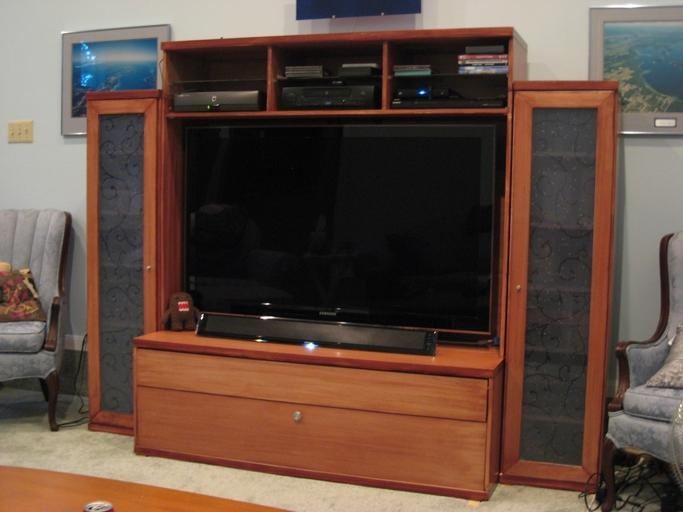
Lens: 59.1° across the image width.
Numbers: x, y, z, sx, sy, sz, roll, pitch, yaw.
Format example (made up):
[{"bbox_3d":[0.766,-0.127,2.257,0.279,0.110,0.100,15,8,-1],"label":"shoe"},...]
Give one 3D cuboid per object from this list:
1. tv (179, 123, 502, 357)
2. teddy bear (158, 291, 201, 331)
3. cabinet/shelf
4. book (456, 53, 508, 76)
[{"bbox_3d":[0.072,-0.090,3.447,1.385,0.893,0.183,1,0,15],"label":"tv"},{"bbox_3d":[-0.954,0.332,3.614,0.253,0.234,0.128,-1,-5,-20],"label":"teddy bear"},{"bbox_3d":[0.146,0.073,3.300,2.669,2.030,0.834,1,1,18],"label":"cabinet/shelf"},{"bbox_3d":[0.758,-1.016,3.185,0.257,0.111,0.040,2,8,13],"label":"book"}]
